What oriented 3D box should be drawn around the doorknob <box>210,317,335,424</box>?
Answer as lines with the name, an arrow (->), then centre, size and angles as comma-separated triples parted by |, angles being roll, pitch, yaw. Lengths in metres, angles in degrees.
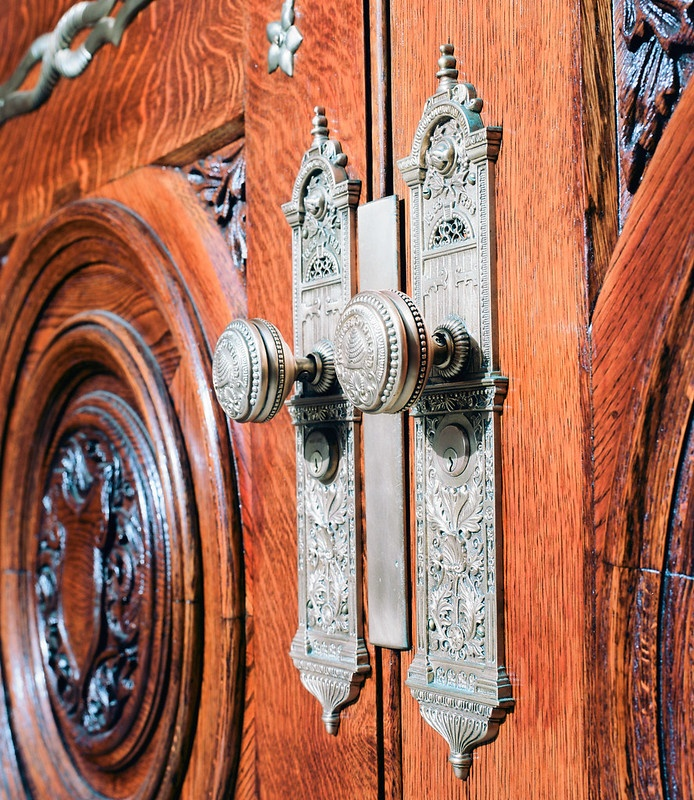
doorknob -> -0.048, -0.023, 1.388 | 0.069, 0.080, 0.053 | 0, 5, -38
